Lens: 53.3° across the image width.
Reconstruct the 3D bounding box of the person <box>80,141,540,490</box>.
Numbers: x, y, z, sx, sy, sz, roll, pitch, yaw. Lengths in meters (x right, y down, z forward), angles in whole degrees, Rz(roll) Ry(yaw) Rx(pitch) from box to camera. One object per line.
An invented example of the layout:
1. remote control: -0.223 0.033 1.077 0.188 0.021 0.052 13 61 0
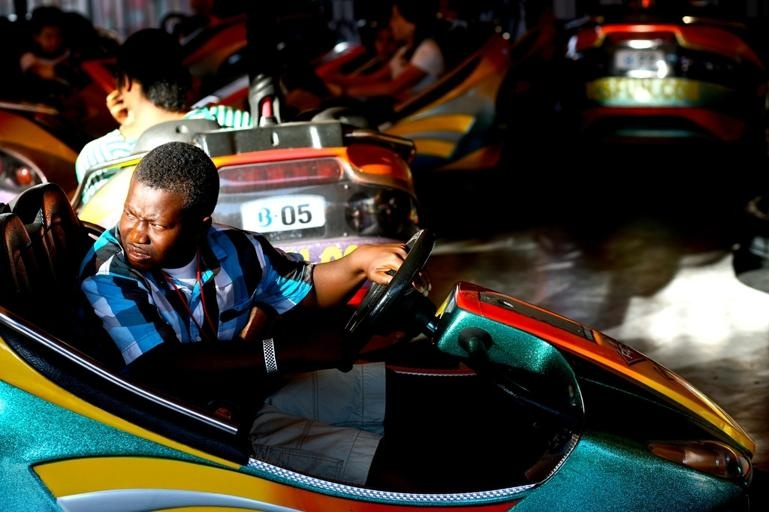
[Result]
1. person: -0.432 0.186 2.656 1.109 1.035 0.813 7 30 14
